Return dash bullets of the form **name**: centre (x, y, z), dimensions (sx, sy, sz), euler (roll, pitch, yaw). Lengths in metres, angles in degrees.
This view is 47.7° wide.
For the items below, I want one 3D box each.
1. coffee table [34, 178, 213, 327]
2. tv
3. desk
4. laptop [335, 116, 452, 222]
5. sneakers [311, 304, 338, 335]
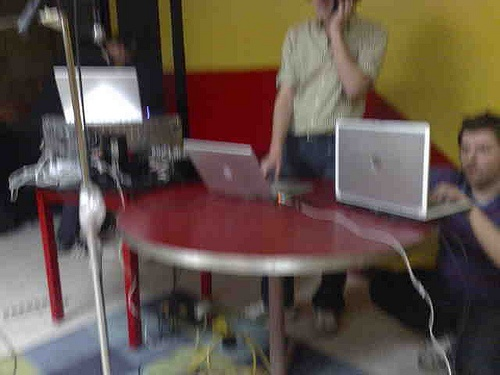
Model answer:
- **coffee table**: centre (-0.948, 0.361, 3.368), dimensions (0.425, 0.674, 0.640), euler (-10, -4, -17)
- **tv**: centre (-0.756, -0.457, 2.830), dimensions (0.439, 0.398, 0.114), euler (0, 14, -6)
- **desk**: centre (0.011, 0.098, 2.579), dimensions (0.827, 0.738, 0.951), euler (-3, 18, -5)
- **laptop**: centre (0.646, -0.157, 2.569), dimensions (0.408, 0.473, 0.378), euler (7, 10, 40)
- **sneakers**: centre (0.426, 0.750, 3.237), dimensions (0.109, 0.150, 0.123), euler (-1, 1, -6)
